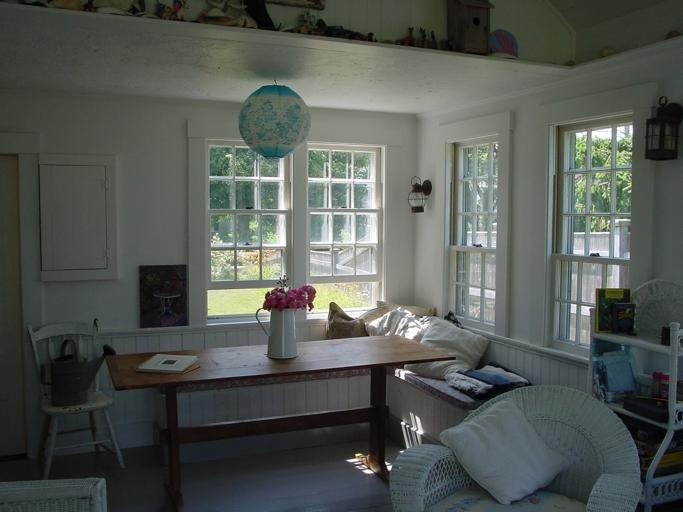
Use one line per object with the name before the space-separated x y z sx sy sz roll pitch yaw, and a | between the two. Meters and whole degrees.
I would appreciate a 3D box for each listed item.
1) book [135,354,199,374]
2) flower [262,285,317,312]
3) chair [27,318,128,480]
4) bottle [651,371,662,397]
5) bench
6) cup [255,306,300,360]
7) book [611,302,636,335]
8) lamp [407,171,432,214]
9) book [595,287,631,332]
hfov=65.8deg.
book | -1.214 0.753 3.792 0.377 0.065 0.386 -2 4 4
flower | -0.391 0.321 3.969 0.271 0.152 0.229 -8 0 24
chair | -2.249 1.159 4.457 0.707 1.140 0.659 3 -2 -12
bottle | 2.068 0.836 3.482 0.051 0.156 0.099 -3 4 -11
bench | 1.011 1.139 4.703 0.716 0.863 1.324 -3 4 -24
cup | -0.516 0.562 4.027 0.370 0.374 0.234 7 -14 -21
book | 1.908 0.418 3.561 0.155 0.207 0.033 -1 4 -5
lamp | 0.835 -0.660 5.630 0.178 0.399 0.289 -4 4 -16
book | 1.842 0.367 3.584 0.277 0.326 0.045 1 5 1
